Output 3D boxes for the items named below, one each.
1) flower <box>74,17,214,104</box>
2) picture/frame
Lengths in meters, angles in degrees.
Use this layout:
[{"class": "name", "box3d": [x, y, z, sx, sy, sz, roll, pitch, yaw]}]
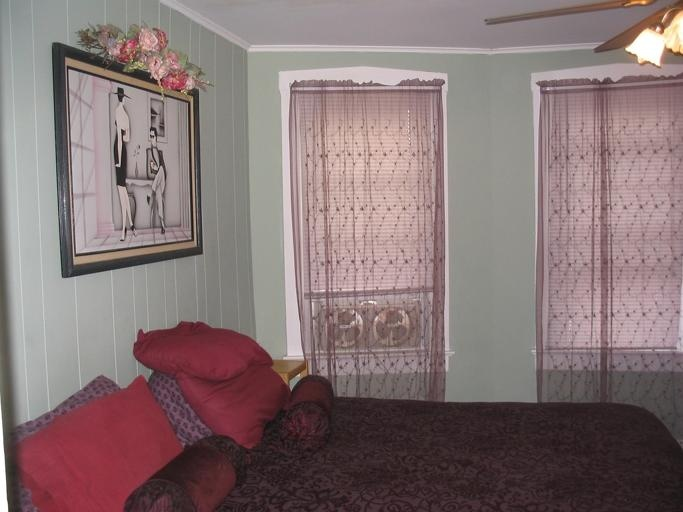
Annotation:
[{"class": "flower", "box3d": [-1.113, -1.135, 3.284, 0.344, 0.369, 0.798, 8, 15, 22]}, {"class": "picture/frame", "box3d": [-1.210, -0.542, 3.361, 0.044, 1.145, 1.144, 3, 7, 22]}]
